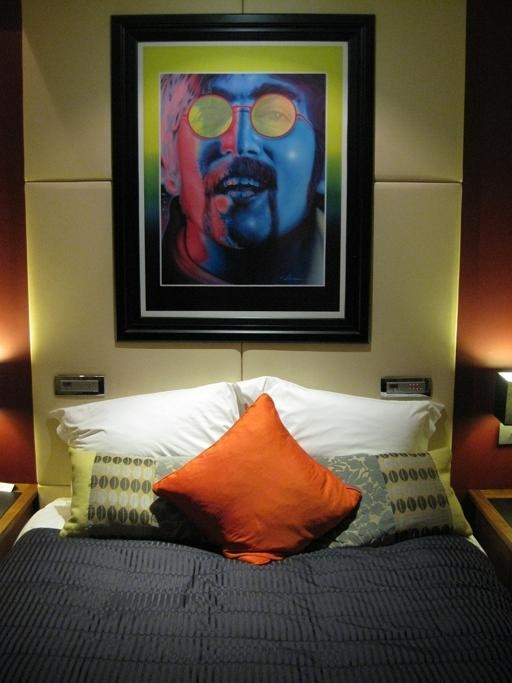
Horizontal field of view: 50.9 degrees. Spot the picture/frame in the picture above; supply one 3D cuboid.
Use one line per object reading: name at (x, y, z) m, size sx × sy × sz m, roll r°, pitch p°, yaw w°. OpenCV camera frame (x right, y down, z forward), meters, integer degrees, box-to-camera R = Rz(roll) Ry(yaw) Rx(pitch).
picture/frame at (-0.056, -0.643, 2.025) m, size 0.920 × 1.344 × 0.057 m, roll 0°, pitch -13°, yaw 2°
